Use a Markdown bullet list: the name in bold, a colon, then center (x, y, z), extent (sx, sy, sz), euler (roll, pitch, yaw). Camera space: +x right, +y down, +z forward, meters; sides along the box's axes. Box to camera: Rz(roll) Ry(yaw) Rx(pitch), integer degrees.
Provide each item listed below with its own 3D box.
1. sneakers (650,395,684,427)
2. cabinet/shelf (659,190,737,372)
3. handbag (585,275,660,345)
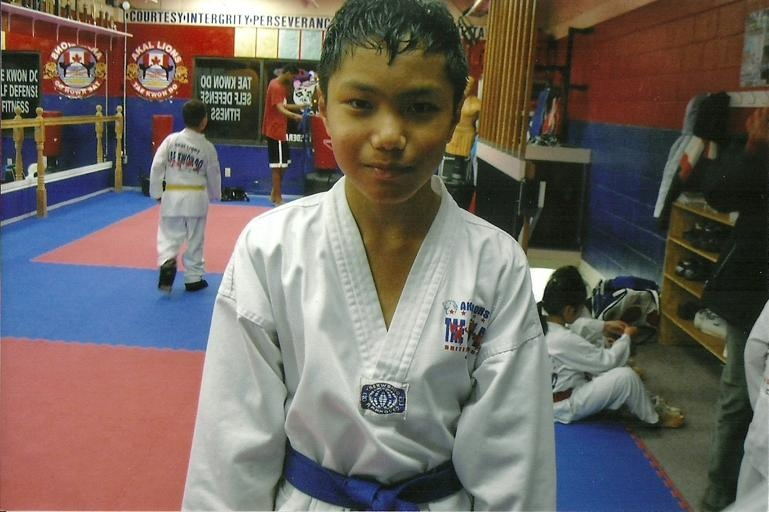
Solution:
- **sneakers**: center (0.998, 0.554, 2.310), extent (0.088, 0.053, 0.156), euler (-20, 5, -30)
- **cabinet/shelf**: center (0.981, 0.056, 2.034), extent (0.151, 0.556, 0.483), euler (1, 10, 12)
- **handbag**: center (0.825, 0.164, 2.326), extent (0.210, 0.214, 0.161), euler (12, 38, 31)
